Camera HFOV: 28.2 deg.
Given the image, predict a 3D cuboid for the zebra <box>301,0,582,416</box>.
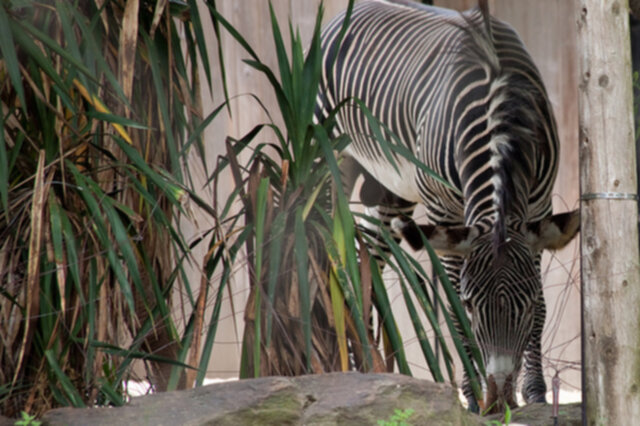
[{"bbox_3d":[0.515,-0.126,5.037,0.612,1.846,1.036,11,-17,-37],"label":"zebra"}]
